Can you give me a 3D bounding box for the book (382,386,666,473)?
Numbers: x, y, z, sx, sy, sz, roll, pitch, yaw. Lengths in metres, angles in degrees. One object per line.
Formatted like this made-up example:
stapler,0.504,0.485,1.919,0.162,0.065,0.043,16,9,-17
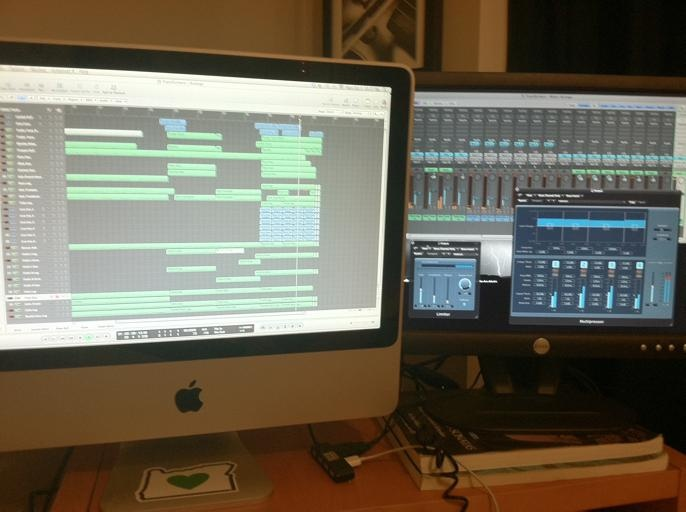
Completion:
book,0.324,0.321,1.184,0.296,0.032,0.193,-1,14,-2
